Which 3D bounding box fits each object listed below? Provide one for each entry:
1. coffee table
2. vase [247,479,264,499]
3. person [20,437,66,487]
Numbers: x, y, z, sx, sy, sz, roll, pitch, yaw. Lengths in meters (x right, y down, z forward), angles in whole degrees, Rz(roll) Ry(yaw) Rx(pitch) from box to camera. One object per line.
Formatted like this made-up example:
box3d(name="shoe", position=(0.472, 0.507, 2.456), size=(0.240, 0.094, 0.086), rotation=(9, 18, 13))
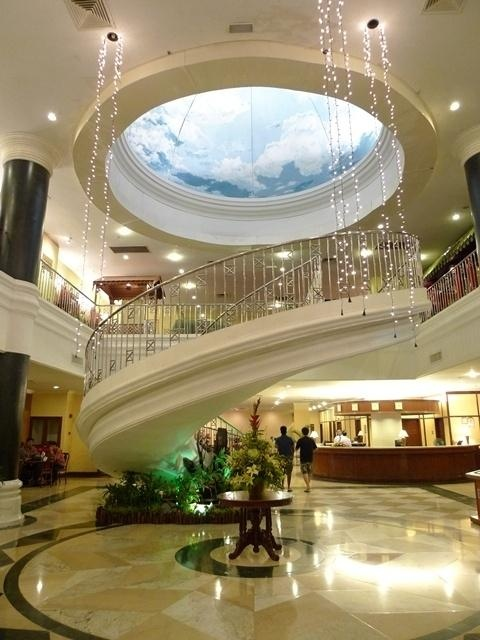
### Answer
box3d(name="coffee table", position=(0.151, 2.001, 3.799), size=(0.591, 0.503, 0.608), rotation=(-6, -28, 7))
box3d(name="vase", position=(0.158, 1.655, 3.810), size=(0.154, 0.182, 0.167), rotation=(8, -11, -24))
box3d(name="person", position=(-5.125, 3.825, 10.405), size=(1.204, 0.668, 1.270), rotation=(4, -17, -15))
